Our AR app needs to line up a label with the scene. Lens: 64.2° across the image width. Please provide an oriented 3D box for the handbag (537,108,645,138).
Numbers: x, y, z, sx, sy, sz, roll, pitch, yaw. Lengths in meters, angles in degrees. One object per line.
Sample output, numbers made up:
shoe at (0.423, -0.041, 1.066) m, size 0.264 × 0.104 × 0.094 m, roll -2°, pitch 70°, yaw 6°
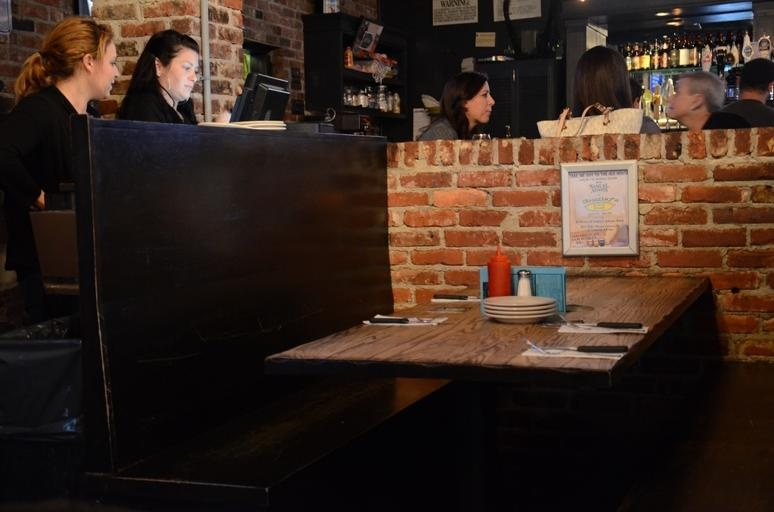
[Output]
handbag at (0.973, -0.618, 2.935) m, size 0.399 × 0.131 × 0.174 m, roll -3°, pitch -11°, yaw 18°

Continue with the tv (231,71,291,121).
tv at (-0.610, -0.749, 3.024) m, size 0.142 × 0.238 × 0.271 m, roll 28°, pitch 20°, yaw 20°

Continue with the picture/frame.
picture/frame at (0.991, -0.227, 2.842) m, size 0.500 × 0.553 × 0.044 m, roll 0°, pitch 4°, yaw 15°

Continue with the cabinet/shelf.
cabinet/shelf at (-0.279, -2.299, 6.880) m, size 0.533 × 0.978 × 1.481 m, roll 20°, pitch 35°, yaw 27°
